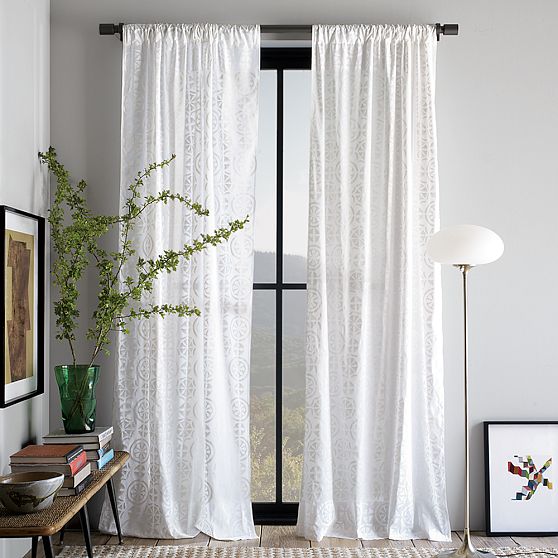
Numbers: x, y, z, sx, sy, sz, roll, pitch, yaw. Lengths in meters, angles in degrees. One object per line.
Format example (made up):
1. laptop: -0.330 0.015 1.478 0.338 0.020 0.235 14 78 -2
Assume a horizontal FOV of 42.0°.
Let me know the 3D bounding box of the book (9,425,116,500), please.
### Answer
1. book: -0.914 0.772 3.037 0.273 0.137 0.509 -2 3 5

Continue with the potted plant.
1. potted plant: -0.748 0.040 3.442 0.871 1.288 0.527 3 6 2
